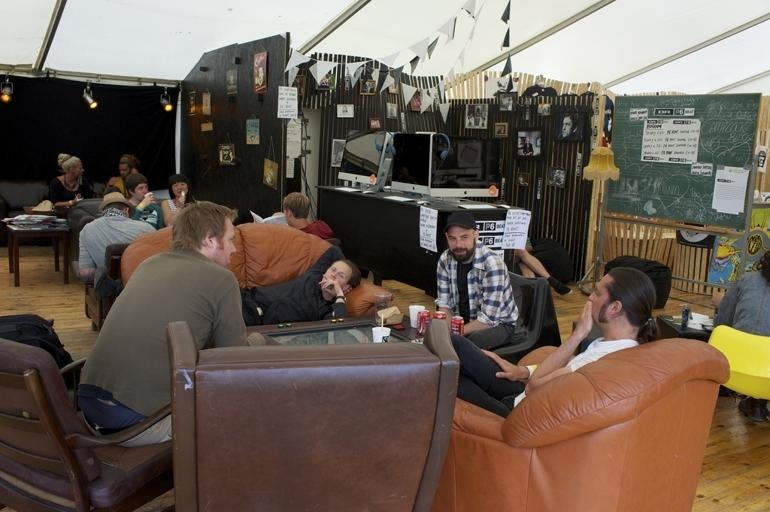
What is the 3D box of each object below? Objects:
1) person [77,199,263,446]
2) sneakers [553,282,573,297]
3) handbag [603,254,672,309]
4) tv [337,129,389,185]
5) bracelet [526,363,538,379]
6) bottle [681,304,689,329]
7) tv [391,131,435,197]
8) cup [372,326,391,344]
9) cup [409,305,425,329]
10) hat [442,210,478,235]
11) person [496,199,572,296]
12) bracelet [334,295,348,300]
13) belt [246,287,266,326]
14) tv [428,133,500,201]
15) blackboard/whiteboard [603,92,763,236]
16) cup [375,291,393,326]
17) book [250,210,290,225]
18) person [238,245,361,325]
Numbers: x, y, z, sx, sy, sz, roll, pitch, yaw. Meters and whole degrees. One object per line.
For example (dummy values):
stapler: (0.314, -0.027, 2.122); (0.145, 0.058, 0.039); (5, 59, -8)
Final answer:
person: (-1.074, 0.339, 2.661); (0.837, 1.213, 0.447); (-1, 7, -32)
sneakers: (2.359, 0.450, 7.001); (0.137, 0.103, 0.253); (-23, 15, -15)
handbag: (2.123, 0.207, 4.376); (0.352, 0.520, 0.576); (-9, 11, -30)
tv: (-0.282, -1.305, 6.995); (0.333, 0.746, 1.015); (-1, 8, -34)
bracelet: (0.917, 0.712, 3.311); (0.078, 0.044, 0.113); (-4, 6, 2)
bottle: (2.513, 0.513, 4.421); (0.046, 0.177, 0.175); (6, 7, 27)
tv: (0.334, -1.071, 6.152); (0.256, 0.687, 0.710); (8, 2, -31)
cup: (-0.030, 0.510, 3.427); (0.117, 0.096, 0.121); (-1, 4, 0)
cup: (0.204, 0.427, 3.708); (0.134, 0.145, 0.141); (3, 2, 0)
hat: (0.596, -0.257, 4.059); (0.263, 0.157, 0.158); (0, 7, -30)
person: (1.891, -0.020, 6.418); (0.714, 0.972, 1.710); (-2, 1, 4)
bracelet: (-0.349, 0.321, 4.095); (0.066, 0.041, 0.103); (2, 6, -10)
belt: (-1.042, 0.406, 4.203); (0.223, 0.235, 0.091); (6, -23, -7)
tv: (0.919, -1.053, 6.255); (1.065, 0.781, 0.543); (-3, 6, -36)
blackboard/whiteboard: (3.672, -1.137, 6.475); (0.100, 1.593, 1.745); (-6, 11, -38)
cup: (-0.020, 0.376, 3.802); (0.099, 0.214, 0.238); (3, 6, -2)
book: (-1.307, -0.419, 6.059); (0.498, 0.188, 0.365); (-2, 10, -12)
person: (-0.669, 0.300, 4.177); (0.817, 0.527, 0.325); (-4, -10, -24)
